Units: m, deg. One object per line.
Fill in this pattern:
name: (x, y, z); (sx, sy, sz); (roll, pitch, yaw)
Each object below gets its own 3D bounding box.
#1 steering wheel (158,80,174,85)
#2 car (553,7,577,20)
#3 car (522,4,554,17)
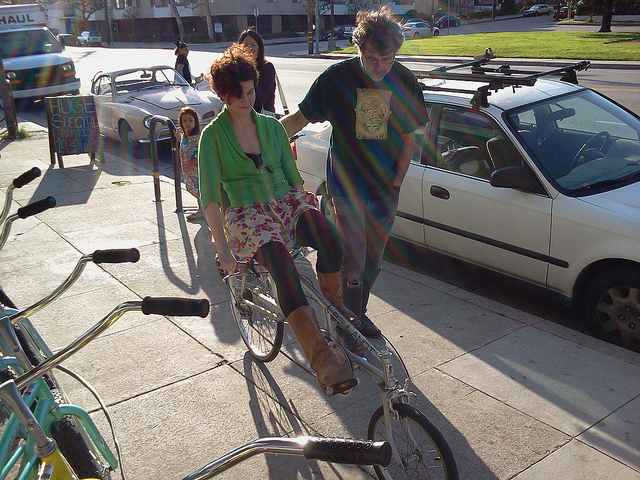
steering wheel: (-3.902, -4.015, 11.438); (0.185, 0.070, 0.190); (0, 15, 0)
car: (29.401, -27.622, 54.682); (2.091, 1.279, 5.157); (6, 25, 25)
car: (29.714, -31.540, 61.577); (4.280, 1.353, 1.573); (-16, 24, -22)
